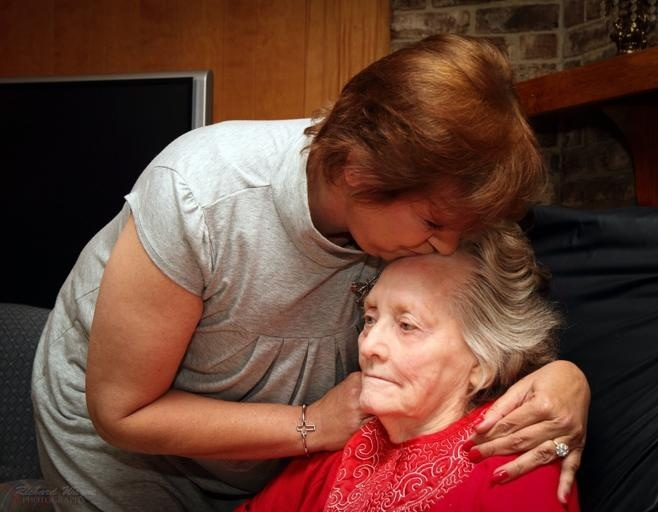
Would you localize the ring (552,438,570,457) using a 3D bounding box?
[{"bbox_3d":[0.463,0.389,1.187,0.041,0.041,0.014,-5,13,-15],"label":"ring"}]

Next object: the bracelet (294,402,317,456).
[{"bbox_3d":[-0.057,0.424,1.437,0.092,0.124,0.023,-1,-6,1],"label":"bracelet"}]
